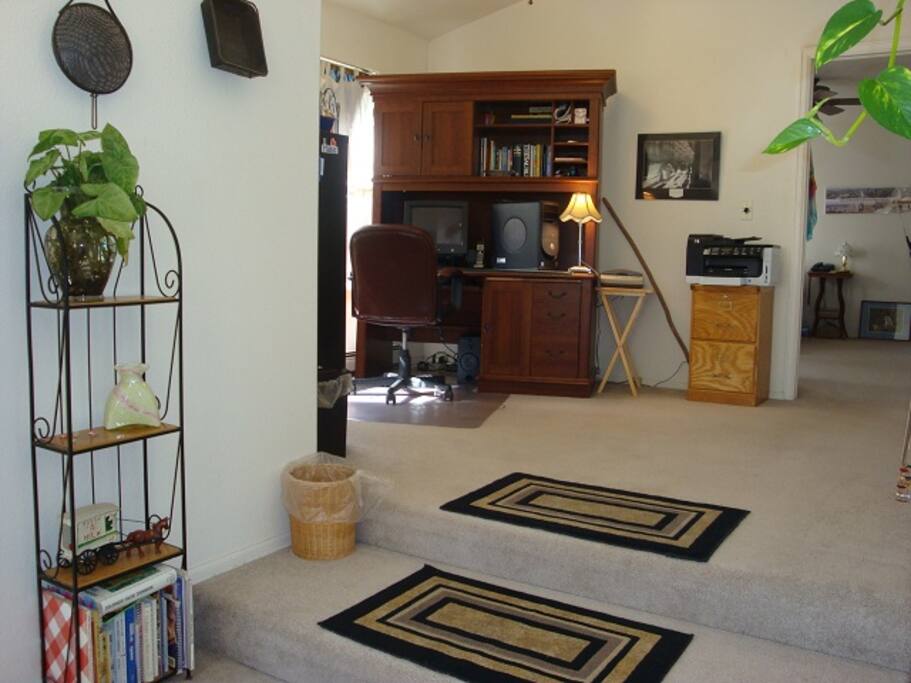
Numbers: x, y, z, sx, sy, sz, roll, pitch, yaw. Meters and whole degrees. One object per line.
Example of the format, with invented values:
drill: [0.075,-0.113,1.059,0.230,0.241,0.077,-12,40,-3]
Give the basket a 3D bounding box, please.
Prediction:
basket: [-0.511,0.691,3.102,0.366,0.380,0.335,2,8,-3]

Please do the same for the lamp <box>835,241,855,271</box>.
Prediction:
lamp: [5.176,-1.128,9.746,0.157,0.357,0.227,10,17,40]

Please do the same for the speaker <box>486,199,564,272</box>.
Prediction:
speaker: [0.662,-0.884,6.055,0.627,0.733,0.386,3,7,23]

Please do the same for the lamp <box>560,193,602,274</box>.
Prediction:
lamp: [0.973,-0.826,5.698,0.360,0.621,0.348,-5,7,-43]

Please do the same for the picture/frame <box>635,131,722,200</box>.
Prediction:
picture/frame: [1.781,-1.390,5.757,0.548,0.500,0.043,1,4,21]

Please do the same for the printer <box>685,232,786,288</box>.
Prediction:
printer: [2.016,-0.594,5.340,0.616,0.342,0.325,5,14,24]

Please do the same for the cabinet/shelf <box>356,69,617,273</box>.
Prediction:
cabinet/shelf: [0.291,-1.196,6.349,2.098,2.194,0.657,4,26,16]

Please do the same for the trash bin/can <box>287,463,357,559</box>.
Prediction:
trash bin/can: [-0.588,0.698,3.191,0.332,0.367,0.362,-3,13,-23]

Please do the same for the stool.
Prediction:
stool: [1.323,-0.024,5.811,0.420,0.867,0.661,2,13,13]

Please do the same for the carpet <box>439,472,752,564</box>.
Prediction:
carpet: [0.616,0.731,3.152,1.189,0.066,0.631,5,15,25]

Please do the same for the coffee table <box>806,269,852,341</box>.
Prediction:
coffee table: [5.057,-0.526,9.876,0.571,0.904,0.545,4,-1,-9]

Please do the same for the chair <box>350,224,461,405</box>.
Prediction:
chair: [-0.405,-0.201,5.450,0.811,1.261,0.857,0,5,-9]

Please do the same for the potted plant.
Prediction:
potted plant: [-1.159,-0.410,2.311,0.413,0.529,0.399,3,4,5]

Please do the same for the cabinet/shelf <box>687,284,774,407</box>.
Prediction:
cabinet/shelf: [2.007,0.006,5.453,0.527,0.852,0.497,3,4,13]
